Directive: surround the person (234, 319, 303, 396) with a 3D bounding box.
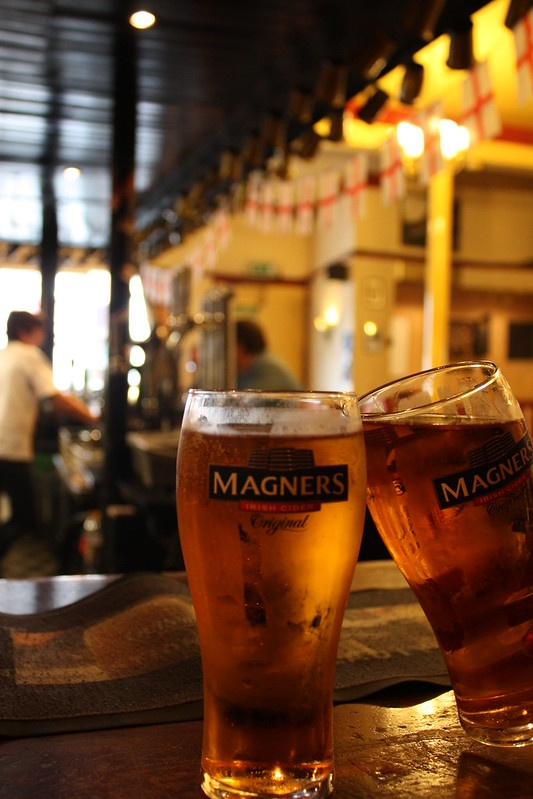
[{"bbox_3d":[0.025,-0.329,5.199,0.375,0.429,0.911,-5,23,1],"label":"person"}]
